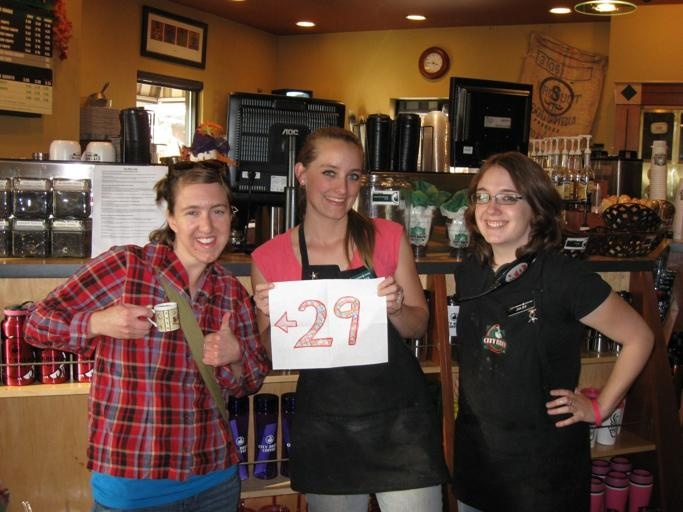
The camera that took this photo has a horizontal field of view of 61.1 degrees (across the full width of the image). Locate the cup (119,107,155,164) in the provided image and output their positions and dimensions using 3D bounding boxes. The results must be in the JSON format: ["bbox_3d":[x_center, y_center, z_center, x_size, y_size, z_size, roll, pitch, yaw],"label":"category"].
[{"bbox_3d":[-1.062,-0.632,2.988,0.139,0.282,0.116,-2,6,-17],"label":"cup"}]

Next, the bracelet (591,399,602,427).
[{"bbox_3d":[0.938,0.580,2.127,0.018,0.078,0.074,-4,2,7],"label":"bracelet"}]

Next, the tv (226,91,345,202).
[{"bbox_3d":[-0.321,-0.553,2.971,0.695,0.648,0.245,1,8,-11],"label":"tv"}]

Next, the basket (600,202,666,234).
[{"bbox_3d":[1.500,-0.187,2.982,0.190,0.080,0.186,-2,-9,34],"label":"basket"}]

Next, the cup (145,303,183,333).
[{"bbox_3d":[-0.574,0.201,1.896,0.105,0.078,0.066,0,2,16],"label":"cup"}]

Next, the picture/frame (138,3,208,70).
[{"bbox_3d":[-2.104,-2.709,7.099,0.064,0.548,0.915,9,11,36],"label":"picture/frame"}]
